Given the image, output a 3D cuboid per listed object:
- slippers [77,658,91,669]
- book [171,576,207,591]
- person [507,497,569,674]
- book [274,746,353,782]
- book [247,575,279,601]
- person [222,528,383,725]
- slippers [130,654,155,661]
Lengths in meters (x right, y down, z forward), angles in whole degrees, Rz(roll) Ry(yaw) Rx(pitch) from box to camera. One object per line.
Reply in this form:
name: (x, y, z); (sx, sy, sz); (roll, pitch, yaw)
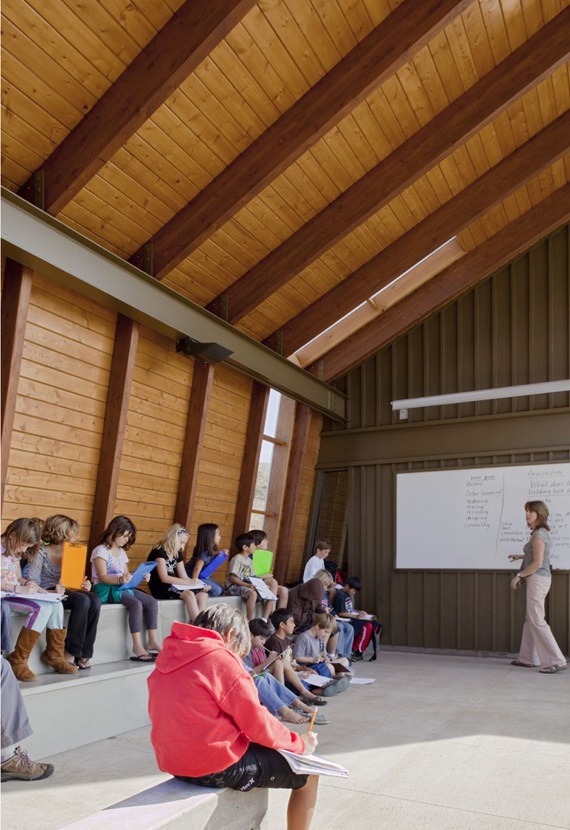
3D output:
slippers: (-1.224, 1.532, 3.556); (0.035, 0.045, 0.106); (-1, -8, 12)
book: (-0.818, 1.437, 4.859); (0.049, 0.116, 0.517); (-1, -10, 30)
person: (2.857, 1.935, 6.612); (0.592, 1.856, 1.020); (4, -10, 21)
book: (0.089, 1.029, 1.696); (0.143, 0.039, 0.145); (18, -19, -28)
book: (-0.204, 1.767, 5.803); (0.247, 0.068, 0.246); (23, 27, -41)
person: (-0.139, 1.795, 4.868); (1.449, 1.623, 0.872); (-8, -18, 38)
slippers: (-0.963, 1.653, 3.956); (0.153, 0.037, 0.066); (-4, -14, 16)
